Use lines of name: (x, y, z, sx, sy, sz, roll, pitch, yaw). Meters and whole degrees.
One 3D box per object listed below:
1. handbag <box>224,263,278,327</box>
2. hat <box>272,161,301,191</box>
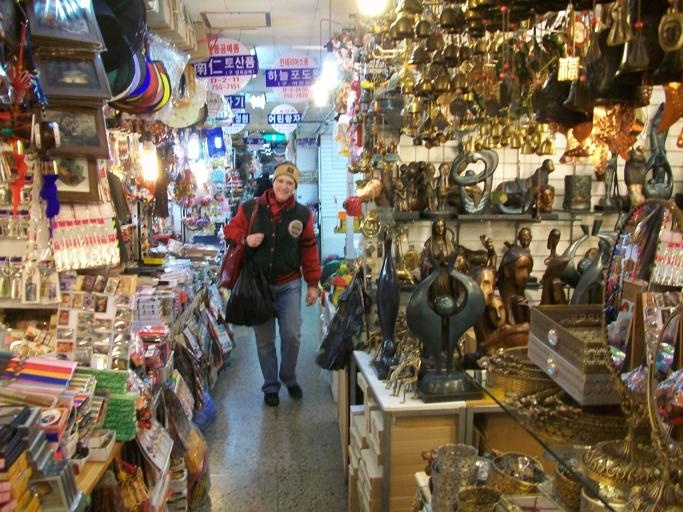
handbag: (-0.729, 0.297, 4.422, 0.400, 0.619, 0.288, -1, 7, -3)
hat: (-0.463, -0.683, 4.608, 0.164, 0.214, 0.241, 5, -7, 6)
